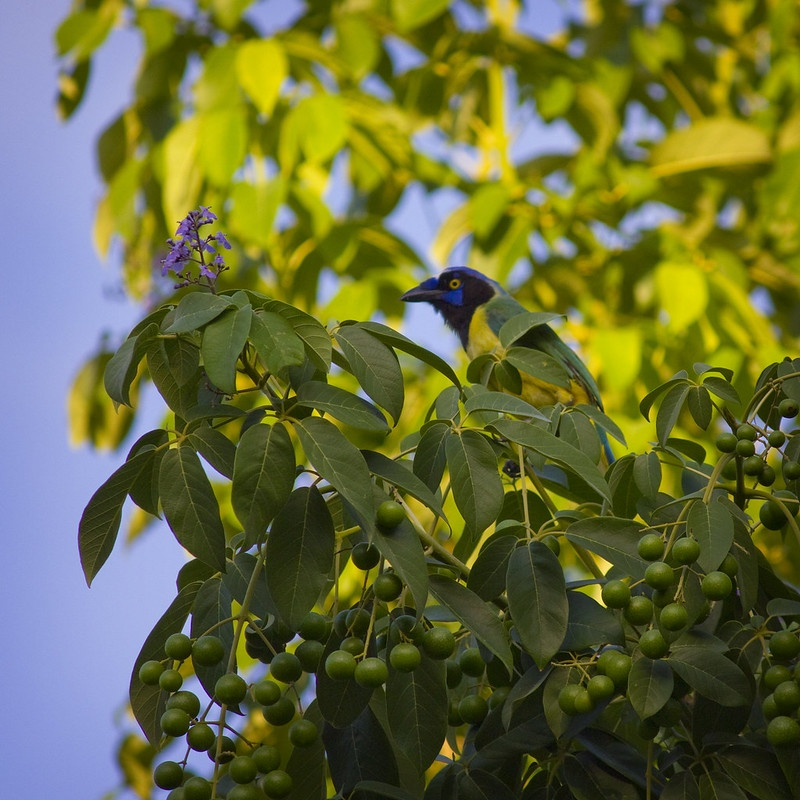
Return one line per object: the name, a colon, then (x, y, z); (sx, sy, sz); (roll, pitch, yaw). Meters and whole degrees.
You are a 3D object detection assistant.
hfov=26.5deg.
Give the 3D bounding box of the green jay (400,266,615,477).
green jay: (0.215, -0.083, 3.253); (0.384, 0.361, 0.166); (1, -24, -28)
